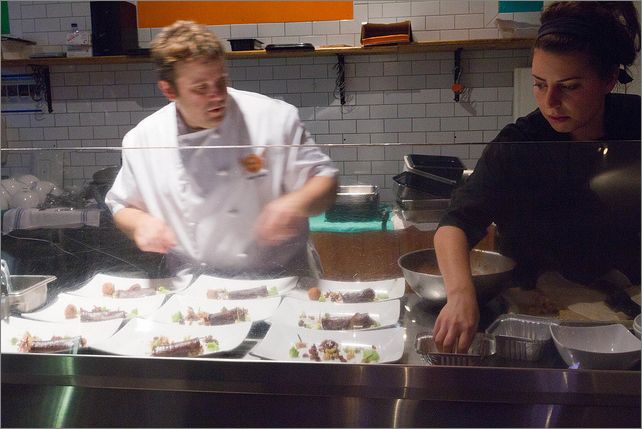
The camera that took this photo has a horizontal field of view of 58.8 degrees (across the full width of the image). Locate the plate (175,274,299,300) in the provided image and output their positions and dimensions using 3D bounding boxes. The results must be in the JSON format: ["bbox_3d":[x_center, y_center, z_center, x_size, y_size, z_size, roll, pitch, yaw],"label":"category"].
[{"bbox_3d":[-0.247,0.223,1.718,0.211,0.031,0.124,3,9,6],"label":"plate"}]

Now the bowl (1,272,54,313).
[{"bbox_3d":[-0.917,0.246,1.783,0.123,0.059,0.137,0,0,-19],"label":"bowl"}]

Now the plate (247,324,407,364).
[{"bbox_3d":[0.028,0.392,1.700,0.316,0.043,0.177,0,10,10],"label":"plate"}]

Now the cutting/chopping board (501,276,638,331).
[{"bbox_3d":[0.727,0.260,1.667,0.280,0.035,0.182,0,12,15],"label":"cutting/chopping board"}]

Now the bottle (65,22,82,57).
[{"bbox_3d":[-1.748,-1.215,4.087,0.151,0.191,0.112,-4,12,-20],"label":"bottle"}]

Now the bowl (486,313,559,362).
[{"bbox_3d":[0.595,0.361,1.671,0.182,0.067,0.145,2,26,21],"label":"bowl"}]

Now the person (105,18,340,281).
[{"bbox_3d":[-0.354,-0.265,1.948,0.697,0.822,0.742,-2,11,-9],"label":"person"}]
